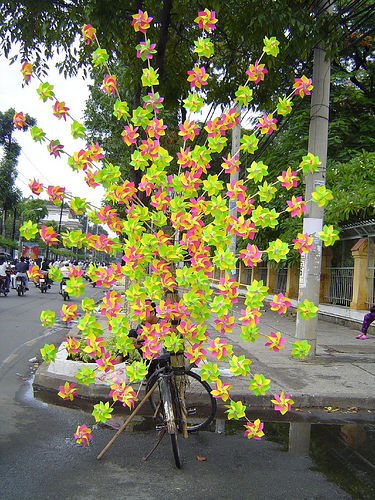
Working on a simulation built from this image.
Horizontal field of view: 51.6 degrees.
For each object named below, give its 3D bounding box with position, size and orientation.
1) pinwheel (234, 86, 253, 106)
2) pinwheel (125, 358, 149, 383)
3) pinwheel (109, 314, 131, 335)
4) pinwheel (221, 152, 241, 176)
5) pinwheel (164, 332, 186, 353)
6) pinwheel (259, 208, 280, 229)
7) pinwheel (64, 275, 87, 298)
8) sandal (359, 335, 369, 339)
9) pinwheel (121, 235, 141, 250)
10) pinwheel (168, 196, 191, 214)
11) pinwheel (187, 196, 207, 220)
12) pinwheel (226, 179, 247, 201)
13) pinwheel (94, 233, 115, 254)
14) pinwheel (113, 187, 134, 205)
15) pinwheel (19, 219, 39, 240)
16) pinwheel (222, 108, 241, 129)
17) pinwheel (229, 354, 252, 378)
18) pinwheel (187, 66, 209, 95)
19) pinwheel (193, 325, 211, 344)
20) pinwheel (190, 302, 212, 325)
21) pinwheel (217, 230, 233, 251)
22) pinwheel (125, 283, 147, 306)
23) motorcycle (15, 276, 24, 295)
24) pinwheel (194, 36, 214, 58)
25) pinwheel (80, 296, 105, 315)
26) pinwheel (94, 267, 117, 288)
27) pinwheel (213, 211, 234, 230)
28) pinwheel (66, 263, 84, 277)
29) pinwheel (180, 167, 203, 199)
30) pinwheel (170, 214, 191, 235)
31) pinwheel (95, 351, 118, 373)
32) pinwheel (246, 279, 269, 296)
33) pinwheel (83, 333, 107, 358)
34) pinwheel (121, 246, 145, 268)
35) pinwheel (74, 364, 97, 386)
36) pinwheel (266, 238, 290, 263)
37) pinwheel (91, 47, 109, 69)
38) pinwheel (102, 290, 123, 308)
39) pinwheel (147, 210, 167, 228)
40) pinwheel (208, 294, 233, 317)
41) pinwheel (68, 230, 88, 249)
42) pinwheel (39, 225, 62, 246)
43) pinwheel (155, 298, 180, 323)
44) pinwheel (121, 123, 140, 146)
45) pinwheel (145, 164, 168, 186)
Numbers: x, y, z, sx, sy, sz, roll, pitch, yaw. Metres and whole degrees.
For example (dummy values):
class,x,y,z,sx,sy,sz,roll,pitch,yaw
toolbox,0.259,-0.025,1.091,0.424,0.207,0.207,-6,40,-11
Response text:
class,x,y,z,sx,sy,sz,roll,pitch,yaw
pinwheel,0.360,-0.981,2.465,0.109,0.107,0.043,-13,6,26
pinwheel,-0.300,0.716,2.315,0.124,0.122,0.063,3,-7,-5
pinwheel,-0.390,0.434,2.217,0.112,0.111,0.046,34,0,-28
pinwheel,0.282,-0.553,2.522,0.115,0.113,0.060,-41,-1,-1
pinwheel,-0.094,0.574,2.454,0.139,0.137,0.068,5,8,-16
pinwheel,0.468,-0.180,2.257,0.113,0.109,0.053,5,-6,-21
pinwheel,-0.679,0.226,2.355,0.127,0.125,0.058,7,-6,-1
sandal,4.598,2.257,10.048,0.148,0.087,0.485,-4,-12,34
pinwheel,-0.335,-0.043,2.261,0.116,0.085,0.069,-5,-12,36
pinwheel,-0.047,-0.262,2.314,0.107,0.126,0.158,1,-10,7
pinwheel,0.069,-0.244,2.369,0.133,0.130,0.049,-10,-6,-1
pinwheel,0.296,-0.360,2.342,0.114,0.113,0.056,14,4,-3
pinwheel,-0.528,-0.045,2.458,0.123,0.143,0.221,5,-10,-15
pinwheel,-0.396,-0.333,2.407,0.096,0.096,0.059,-24,20,-7
pinwheel,-0.918,-0.116,2.299,0.130,0.115,0.063,4,13,-17
pinwheel,0.275,-0.814,2.412,0.110,0.053,0.107,16,-38,-10
pinwheel,0.317,0.708,2.379,0.127,0.141,0.233,1,-10,6
pinwheel,0.066,-1.082,2.477,0.112,0.117,0.042,-1,-7,2
pinwheel,0.075,0.509,2.361,0.090,0.101,0.040,43,-16,-29
pinwheel,0.078,0.379,2.332,0.123,0.121,0.054,-2,11,-14
pinwheel,0.229,-0.053,2.354,0.101,0.099,0.044,11,-1,-14
pinwheel,-0.289,0.244,2.156,0.107,0.110,0.048,-7,1,-5
motorcycle,-8.074,1.725,18.735,0.290,0.886,0.516,0,-10,17
pinwheel,0.113,-1.291,2.503,0.132,0.131,0.065,-20,4,0
pinwheel,-0.611,0.357,2.455,0.117,0.116,0.059,-28,4,-1
pinwheel,-0.498,0.167,2.333,0.111,0.113,0.044,-6,7,-11
pinwheel,0.207,-0.172,2.247,0.098,0.096,0.048,15,-22,-6
pinwheel,-0.691,0.121,2.385,0.084,0.077,0.041,15,-40,0
pinwheel,0.023,-0.423,2.337,0.133,0.117,0.045,-26,30,-27
pinwheel,-0.046,-0.162,2.297,0.104,0.069,0.145,4,-10,-12
pinwheel,-0.509,0.701,2.447,0.130,0.129,0.039,14,1,-1
pinwheel,0.388,0.197,2.198,0.115,0.109,0.057,-2,-42,-39
pinwheel,-0.555,0.580,2.361,0.155,0.143,0.072,8,-8,-29
pinwheel,-0.317,0.038,2.269,0.116,0.110,0.056,9,41,2
pinwheel,-0.673,0.821,2.575,0.148,0.156,0.077,12,2,1
pinwheel,0.522,-0.011,2.279,0.120,0.185,0.401,0,-10,12
pinwheel,-0.576,-1.292,2.590,0.112,0.112,0.030,-40,11,25
pinwheel,-0.425,0.273,2.220,0.095,0.093,0.047,8,-25,-4
pinwheel,-0.182,-0.190,2.374,0.088,0.091,0.048,-34,1,31
pinwheel,0.181,0.301,2.120,0.115,0.111,0.053,-43,1,-7
pinwheel,-0.685,-0.068,2.432,0.106,0.105,0.054,2,14,-18
pinwheel,-0.850,-0.087,2.392,0.111,0.115,0.046,-20,1,-5
pinwheel,-0.110,0.352,2.224,0.130,0.129,0.189,2,-10,-1
pinwheel,-0.361,-0.740,2.499,0.123,0.126,0.066,-43,9,16
pinwheel,-0.191,-0.463,2.372,0.120,0.122,0.088,0,-10,12
